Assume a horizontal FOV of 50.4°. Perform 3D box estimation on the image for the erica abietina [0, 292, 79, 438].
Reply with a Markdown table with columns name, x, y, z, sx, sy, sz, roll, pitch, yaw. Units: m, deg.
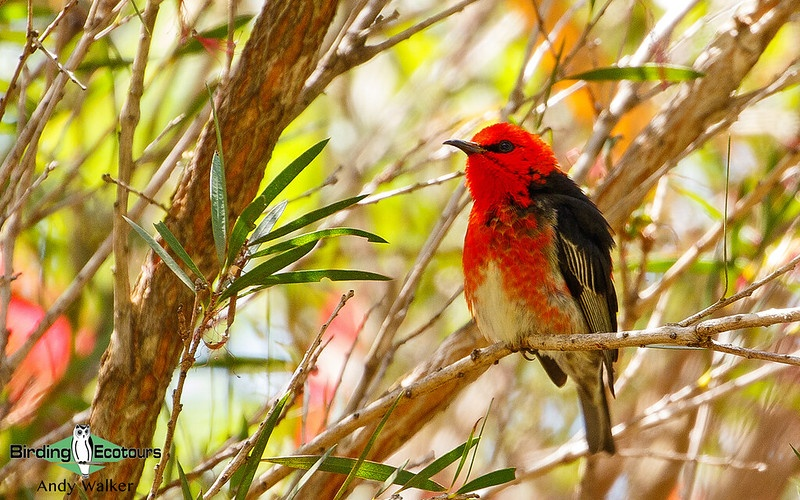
| name | x | y | z | sx | sy | sz | roll | pitch | yaw |
| --- | --- | --- | --- | --- | --- | --- | --- | --- | --- |
| erica abietina | -2.944 | 0.845 | 6.776 | 0.596 | 1.195 | 0.313 | 19 | -41 | -18 |
